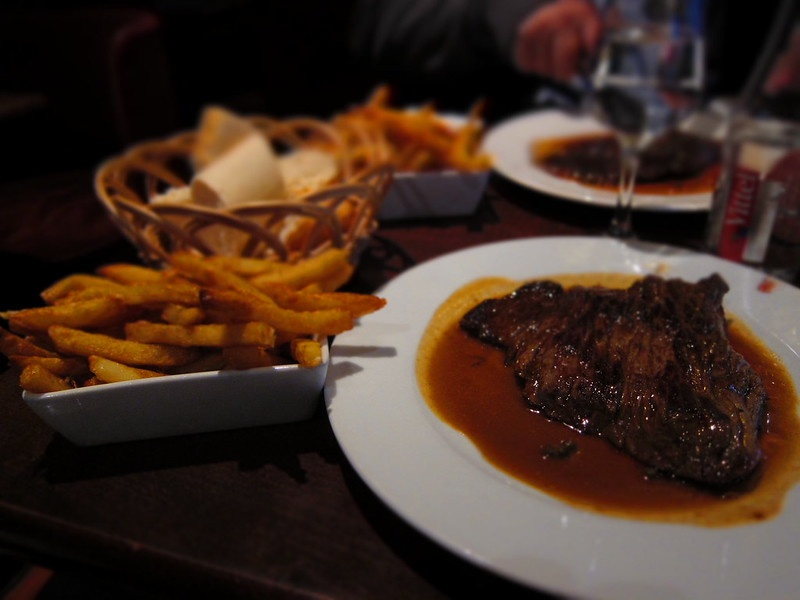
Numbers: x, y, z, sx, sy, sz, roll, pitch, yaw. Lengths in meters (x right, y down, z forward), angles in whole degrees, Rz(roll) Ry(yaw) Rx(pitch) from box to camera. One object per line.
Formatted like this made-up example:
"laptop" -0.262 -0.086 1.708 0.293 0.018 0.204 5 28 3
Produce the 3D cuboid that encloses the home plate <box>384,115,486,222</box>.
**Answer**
"home plate" 0.097 -0.366 1.974 0.202 0.094 0.286 -1 32 6

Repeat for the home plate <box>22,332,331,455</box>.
"home plate" -0.433 0.212 1.419 0.589 0.167 0.062 -10 44 -6
